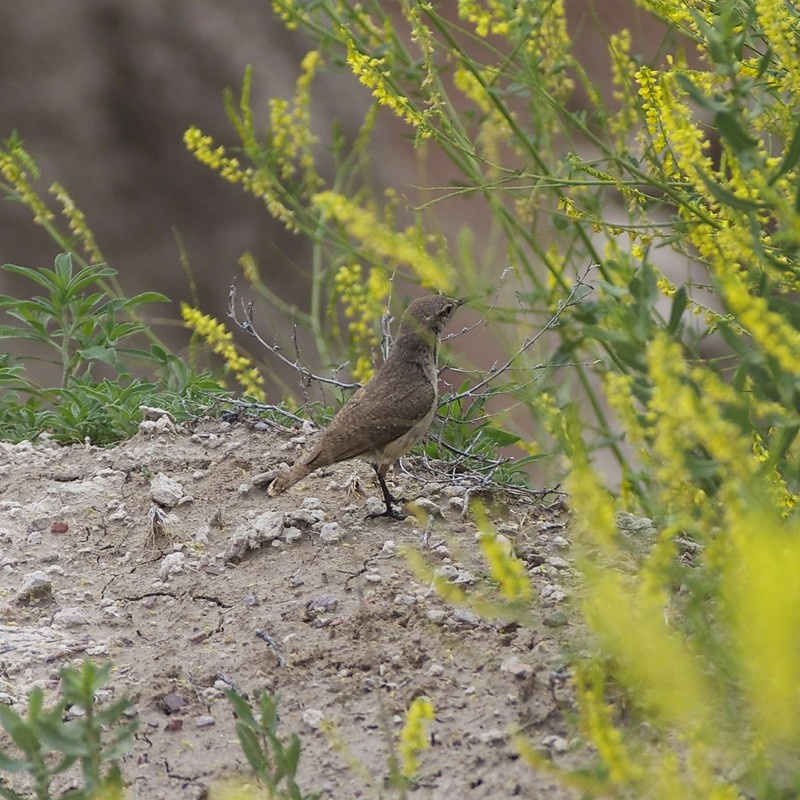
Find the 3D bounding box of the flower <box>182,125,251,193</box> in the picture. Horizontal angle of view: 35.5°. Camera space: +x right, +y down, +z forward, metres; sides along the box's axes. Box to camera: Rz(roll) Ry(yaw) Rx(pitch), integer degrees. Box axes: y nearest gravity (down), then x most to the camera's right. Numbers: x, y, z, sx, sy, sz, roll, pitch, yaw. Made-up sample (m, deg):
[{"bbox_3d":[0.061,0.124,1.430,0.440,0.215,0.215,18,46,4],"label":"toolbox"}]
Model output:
[{"bbox_3d":[-0.811,-1.108,5.585,0.292,0.295,0.464,5,27,-8],"label":"flower"}]
